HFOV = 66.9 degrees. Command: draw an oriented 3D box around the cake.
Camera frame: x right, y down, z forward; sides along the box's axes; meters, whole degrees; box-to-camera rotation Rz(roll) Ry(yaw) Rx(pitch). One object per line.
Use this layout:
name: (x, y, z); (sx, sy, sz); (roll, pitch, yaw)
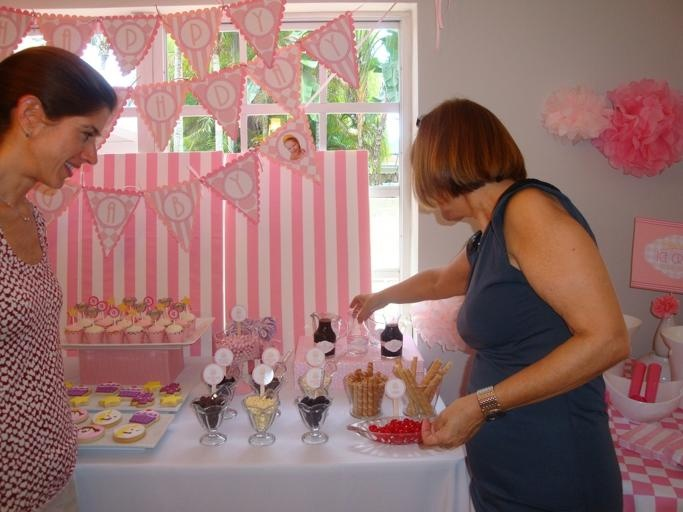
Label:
cake: (-0.959, 0.282, 2.399); (0.516, 0.216, 0.341); (3, 10, 3)

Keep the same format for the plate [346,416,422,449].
plate: (0.168, 0.621, 1.841); (0.178, 0.032, 0.142); (-2, 2, -2)

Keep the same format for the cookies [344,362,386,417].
cookies: (0.090, 0.534, 2.063); (0.120, 0.192, 0.130); (1, 12, -16)

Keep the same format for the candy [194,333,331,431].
candy: (-0.296, 0.429, 2.029); (0.410, 0.314, 0.334); (4, 8, 15)

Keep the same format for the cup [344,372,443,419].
cup: (0.195, 0.539, 1.981); (0.267, 0.146, 0.309); (-5, 10, -36)
